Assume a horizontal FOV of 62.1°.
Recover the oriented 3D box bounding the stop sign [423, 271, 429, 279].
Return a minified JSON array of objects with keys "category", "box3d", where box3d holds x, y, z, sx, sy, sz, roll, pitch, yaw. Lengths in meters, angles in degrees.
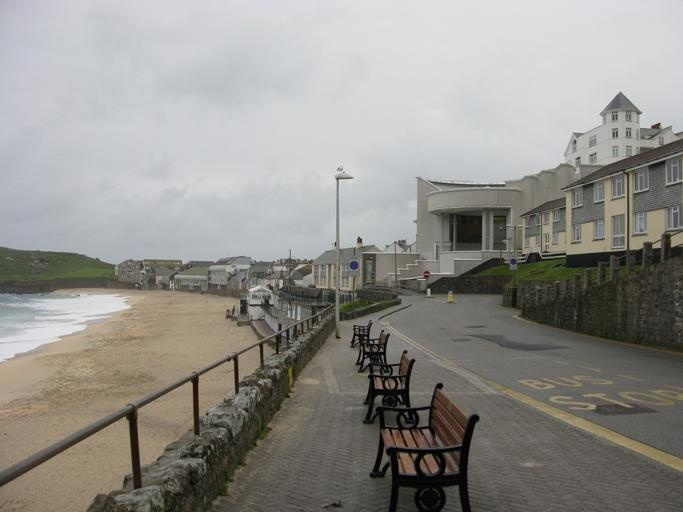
[{"category":"stop sign","box3d":[8.418,1.792,56.165,0.526,0.907,0.495,-2,7,-1]}]
